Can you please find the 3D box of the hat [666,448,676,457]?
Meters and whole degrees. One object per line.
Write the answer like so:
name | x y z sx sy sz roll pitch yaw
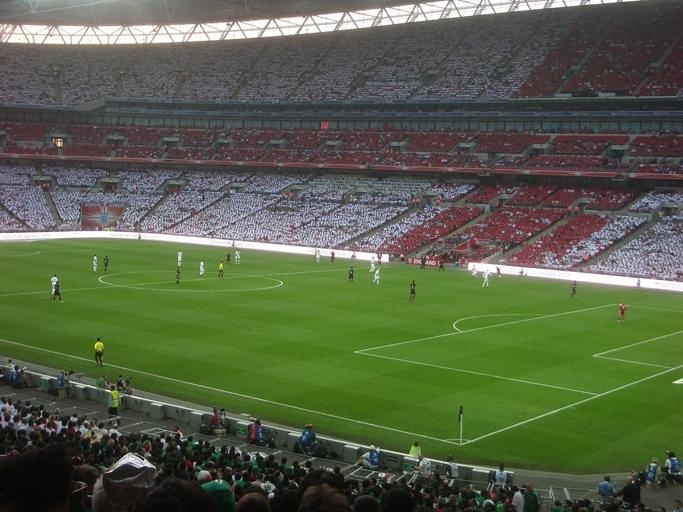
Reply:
hat | 13.105 7.847 32.010 0.278 0.253 0.840 4 -4 34
